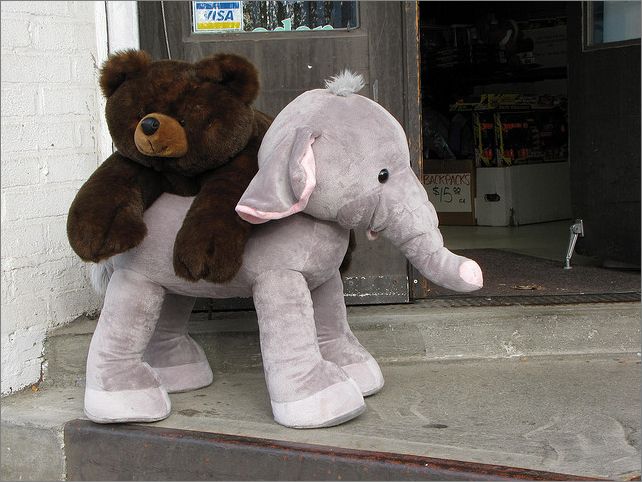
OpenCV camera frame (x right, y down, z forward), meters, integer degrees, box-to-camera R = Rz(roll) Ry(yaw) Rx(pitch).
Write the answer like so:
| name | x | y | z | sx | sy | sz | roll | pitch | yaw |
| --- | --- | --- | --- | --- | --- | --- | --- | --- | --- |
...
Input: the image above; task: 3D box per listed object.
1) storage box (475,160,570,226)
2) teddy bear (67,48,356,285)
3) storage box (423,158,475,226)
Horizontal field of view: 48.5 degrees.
| name | x | y | z | sx | sy | sz | roll | pitch | yaw |
| --- | --- | --- | --- | --- | --- | --- | --- | --- | --- |
| storage box | 2.192 | -0.515 | 7.732 | 1.047 | 0.623 | 0.430 | -7 | 12 | -26 |
| teddy bear | -0.554 | -0.318 | 2.674 | 0.596 | 0.632 | 1.013 | 6 | 16 | 13 |
| storage box | 1.437 | -0.542 | 8.080 | 0.801 | 0.755 | 0.776 | 0 | 5 | 7 |
